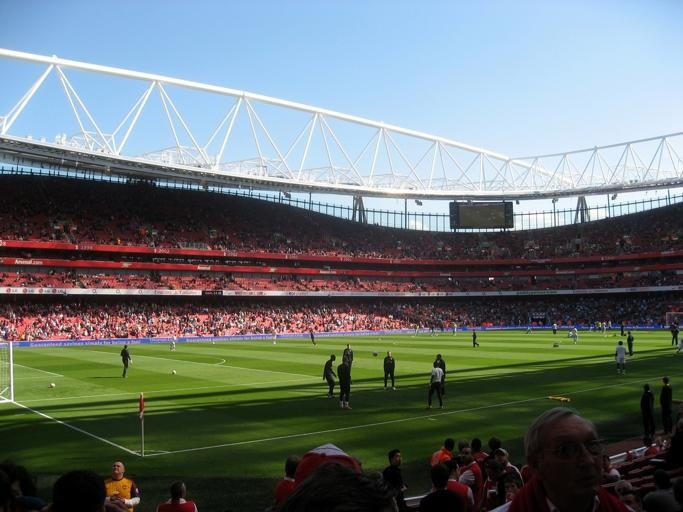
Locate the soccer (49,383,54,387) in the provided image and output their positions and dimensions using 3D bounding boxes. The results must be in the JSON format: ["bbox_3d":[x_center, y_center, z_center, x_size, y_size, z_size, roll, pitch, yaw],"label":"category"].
[{"bbox_3d":[-16.359,7.268,43.449,0.242,0.169,0.246,5,-4,-32],"label":"soccer"}]
